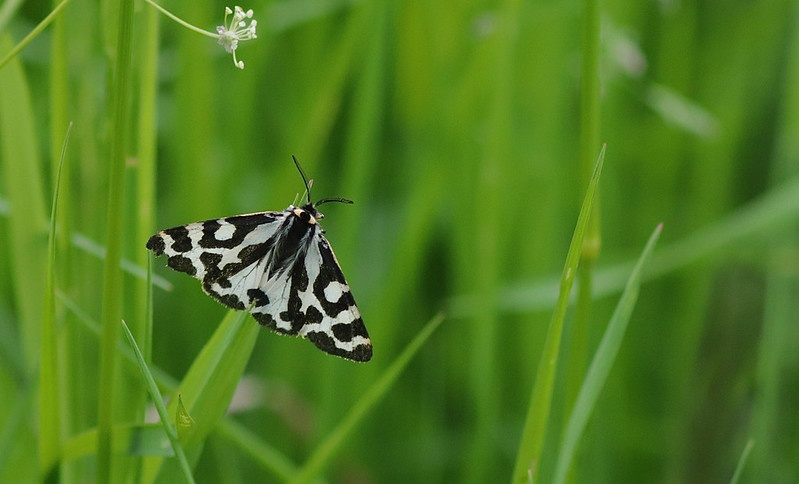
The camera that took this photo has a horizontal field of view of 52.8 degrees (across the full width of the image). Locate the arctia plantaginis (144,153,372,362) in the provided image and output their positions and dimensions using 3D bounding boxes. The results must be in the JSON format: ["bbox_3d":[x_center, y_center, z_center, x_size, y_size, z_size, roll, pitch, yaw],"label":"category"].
[{"bbox_3d":[-0.289,0.022,2.184,0.652,0.458,0.235,33,-31,7],"label":"arctia plantaginis"}]
